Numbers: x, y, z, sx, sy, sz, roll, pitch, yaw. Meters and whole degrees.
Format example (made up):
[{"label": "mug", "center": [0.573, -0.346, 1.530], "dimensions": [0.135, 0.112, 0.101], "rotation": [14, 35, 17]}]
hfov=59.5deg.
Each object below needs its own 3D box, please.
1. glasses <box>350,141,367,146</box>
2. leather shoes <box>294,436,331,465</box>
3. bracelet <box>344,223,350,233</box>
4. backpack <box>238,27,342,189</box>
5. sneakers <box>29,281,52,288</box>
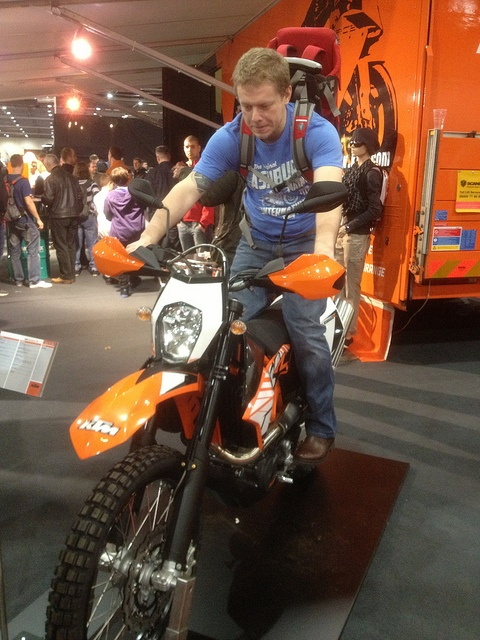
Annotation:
[{"label": "glasses", "center": [1.279, -1.892, 4.473], "dimensions": [0.081, 0.042, 0.079], "rotation": [5, 6, -27]}, {"label": "leather shoes", "center": [0.338, 0.611, 1.972], "dimensions": [0.085, 0.093, 0.206], "rotation": [-3, -5, 32]}, {"label": "bracelet", "center": [1.168, -0.997, 4.531], "dimensions": [0.018, 0.065, 0.046], "rotation": [-3, 8, -35]}, {"label": "backpack", "center": [0.284, -1.107, 2.076], "dimensions": [0.407, 0.722, 0.395], "rotation": [5, 13, 18]}, {"label": "sneakers", "center": [-3.888, -0.688, 8.129], "dimensions": [0.365, 0.161, 0.158], "rotation": [-4, 14, -18]}]
